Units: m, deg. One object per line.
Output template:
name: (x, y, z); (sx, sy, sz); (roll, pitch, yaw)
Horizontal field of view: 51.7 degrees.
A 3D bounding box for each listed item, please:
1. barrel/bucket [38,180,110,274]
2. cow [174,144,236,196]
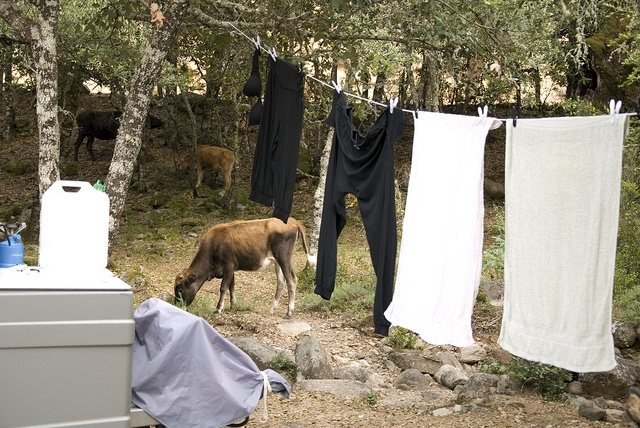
barrel/bucket: (-3.517, 0.174, 9.377); (0.812, 1.295, 1.378); (2, 3, 3)
cow: (-3.997, -1.669, 23.497); (1.888, 1.603, 0.626); (0, 9, 7)
